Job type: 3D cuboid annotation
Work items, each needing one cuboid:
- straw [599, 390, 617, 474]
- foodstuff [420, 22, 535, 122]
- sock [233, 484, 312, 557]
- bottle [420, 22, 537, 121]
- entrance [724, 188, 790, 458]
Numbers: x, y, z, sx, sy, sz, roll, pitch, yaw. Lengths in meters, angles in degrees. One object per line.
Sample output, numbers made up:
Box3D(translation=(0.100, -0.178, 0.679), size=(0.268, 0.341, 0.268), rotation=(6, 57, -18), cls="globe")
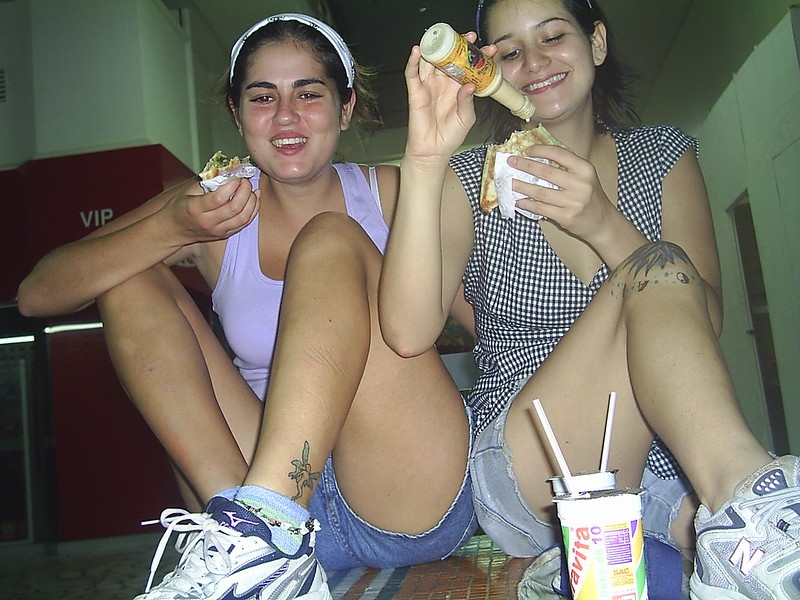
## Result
Box3D(translation=(0.446, 0.276, 1.468), size=(0.029, 0.202, 0.025), rotation=(3, 3, 4), cls="straw")
Box3D(translation=(0.185, -0.548, 1.663), size=(0.310, 0.227, 0.111), rotation=(-14, 24, -29), cls="foodstuff")
Box3D(translation=(-0.260, 0.471, 1.443), size=(0.166, 0.058, 0.100), rotation=(45, 46, -7), cls="sock")
Box3D(translation=(0.203, -0.575, 1.722), size=(0.347, 0.111, 0.113), rotation=(35, -3, -40), cls="bottle")
Box3D(translation=(2.011, 0.129, 3.847), size=(0.176, 1.510, 0.186), rotation=(-10, 2, -32), cls="entrance")
